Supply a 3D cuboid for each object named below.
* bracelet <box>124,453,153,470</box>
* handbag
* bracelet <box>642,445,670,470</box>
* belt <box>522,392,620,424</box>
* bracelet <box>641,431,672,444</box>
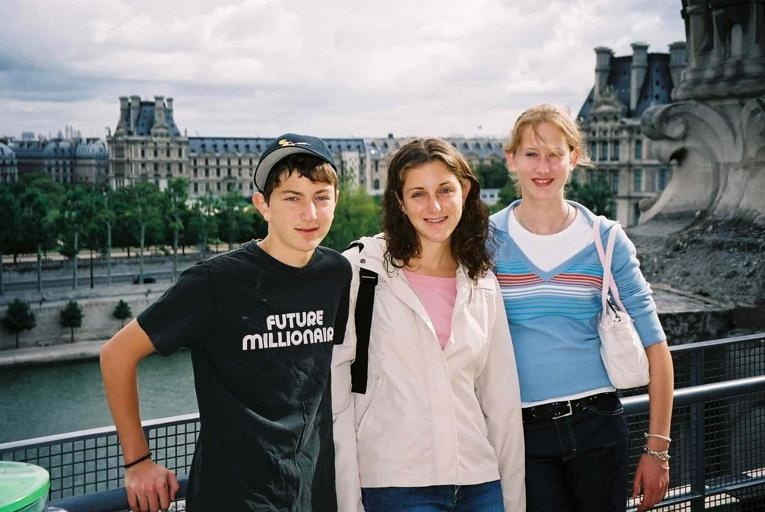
[{"bbox_3d":[-1.483,1.236,5.698,0.162,0.105,0.160,-4,7,-20],"label":"bracelet"},{"bbox_3d":[1.552,0.305,6.179,0.380,1.098,0.246,2,7,26],"label":"handbag"},{"bbox_3d":[1.786,1.309,6.253,0.155,0.119,0.184,18,0,-28],"label":"bracelet"},{"bbox_3d":[1.244,1.000,6.161,0.649,0.186,0.087,-2,7,-4],"label":"belt"},{"bbox_3d":[1.828,1.193,6.201,0.133,0.035,0.144,3,-3,-7],"label":"bracelet"}]
